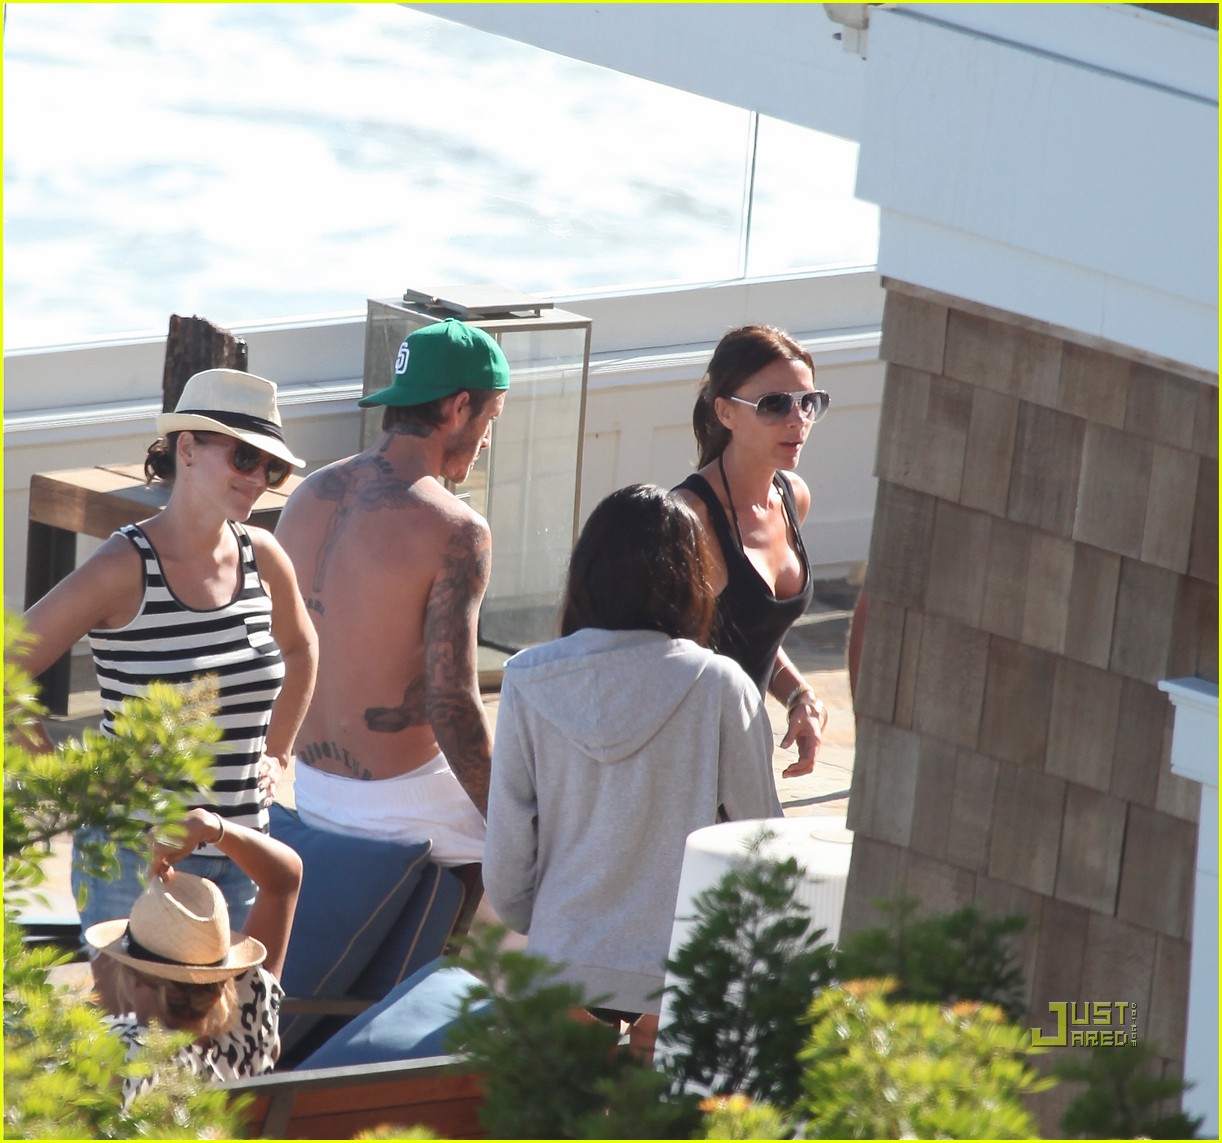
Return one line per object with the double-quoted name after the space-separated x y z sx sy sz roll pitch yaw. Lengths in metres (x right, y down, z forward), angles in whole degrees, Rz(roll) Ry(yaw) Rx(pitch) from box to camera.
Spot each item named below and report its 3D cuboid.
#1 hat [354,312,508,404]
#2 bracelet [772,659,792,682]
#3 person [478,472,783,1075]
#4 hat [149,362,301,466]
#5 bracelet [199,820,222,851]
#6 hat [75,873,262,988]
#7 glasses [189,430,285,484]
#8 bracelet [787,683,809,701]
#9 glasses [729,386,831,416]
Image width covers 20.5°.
-0.430 -0.497 7.953 0.398 0.198 0.249 -12 12 -29 "hat"
0.432 0.235 8.336 0.034 0.037 0.037 4 3 2 "bracelet"
0.060 0.359 7.053 0.616 1.041 0.299 6 2 0 "person"
-0.872 -0.355 7.573 0.255 0.136 0.230 2 -2 36 "hat"
-0.848 0.552 7.154 0.029 0.053 0.041 2 3 -35 "bracelet"
-0.890 0.705 6.816 0.379 0.148 0.335 11 13 22 "hat"
-0.839 -0.270 7.559 0.116 0.045 0.162 27 0 -23 "glasses"
0.461 0.292 8.234 0.014 0.047 0.033 49 -10 2 "bracelet"
0.425 -0.411 8.089 0.255 0.065 0.134 6 2 -20 "glasses"
